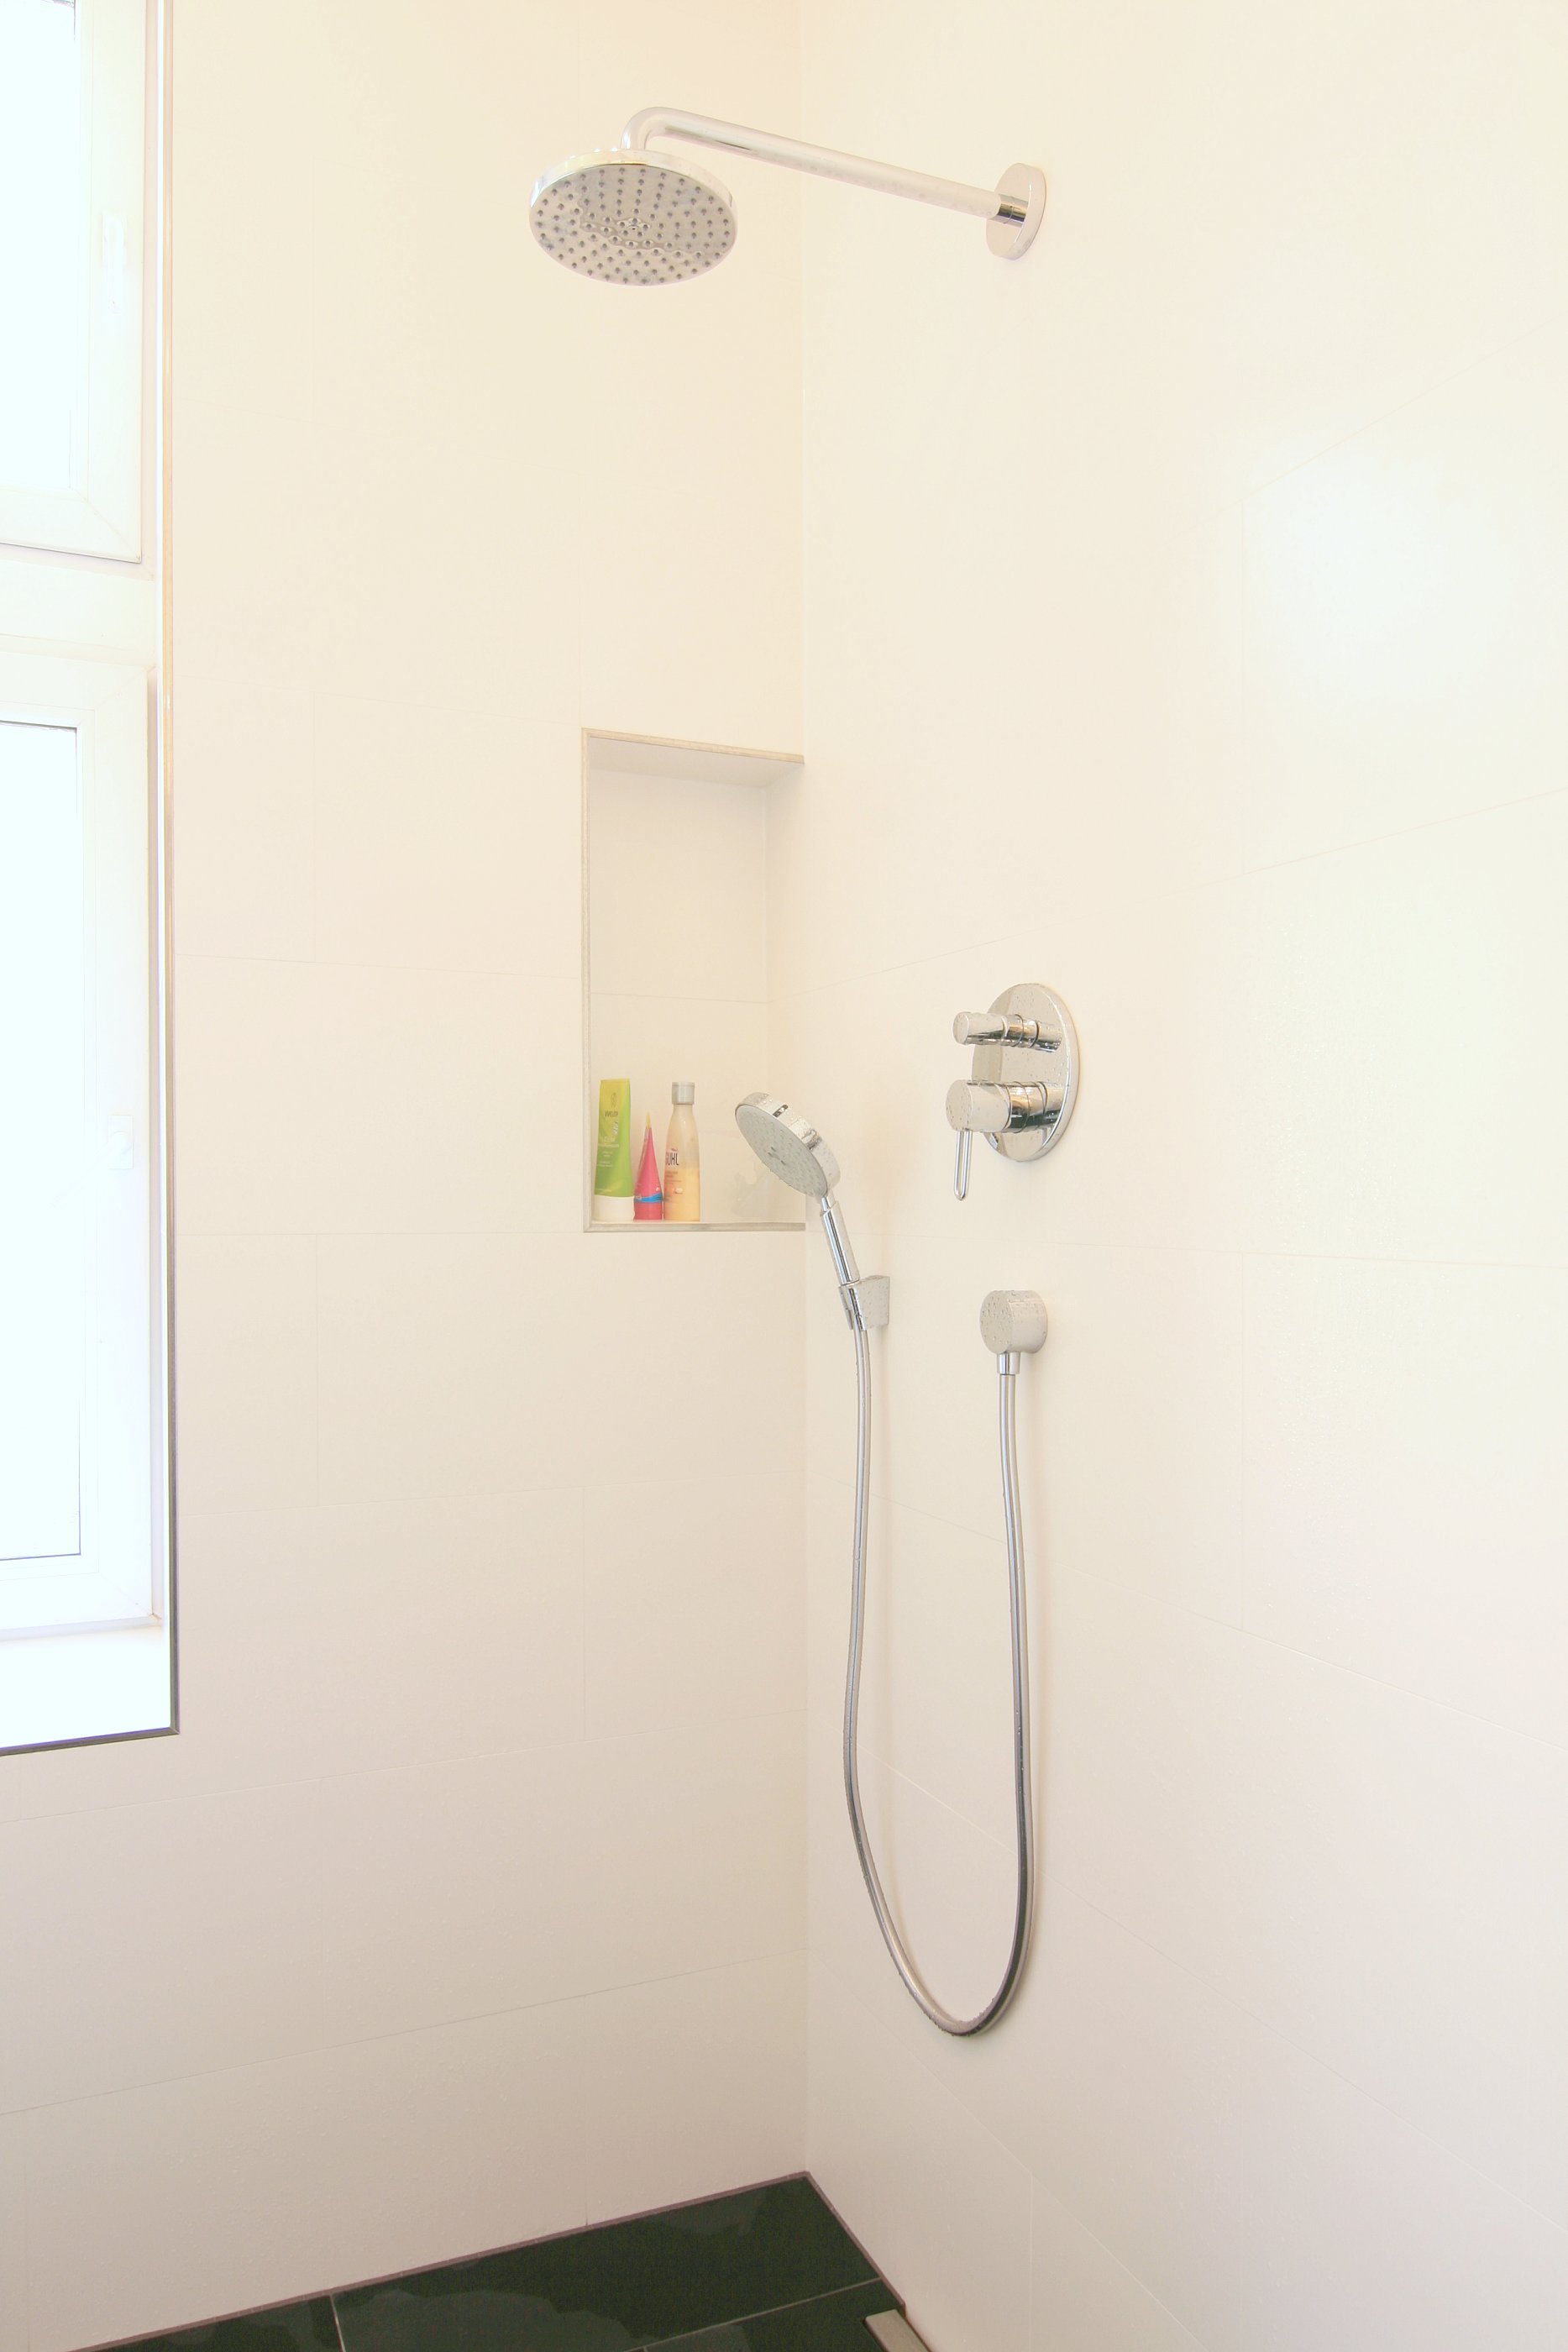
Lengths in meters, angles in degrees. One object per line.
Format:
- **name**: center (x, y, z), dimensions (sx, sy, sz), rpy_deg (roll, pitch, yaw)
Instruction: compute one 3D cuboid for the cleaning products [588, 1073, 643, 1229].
- **cleaning products**: center (-0.169, -0.025, 1.978), dimensions (0.046, 0.135, 0.103), rpy_deg (0, 6, -4)
